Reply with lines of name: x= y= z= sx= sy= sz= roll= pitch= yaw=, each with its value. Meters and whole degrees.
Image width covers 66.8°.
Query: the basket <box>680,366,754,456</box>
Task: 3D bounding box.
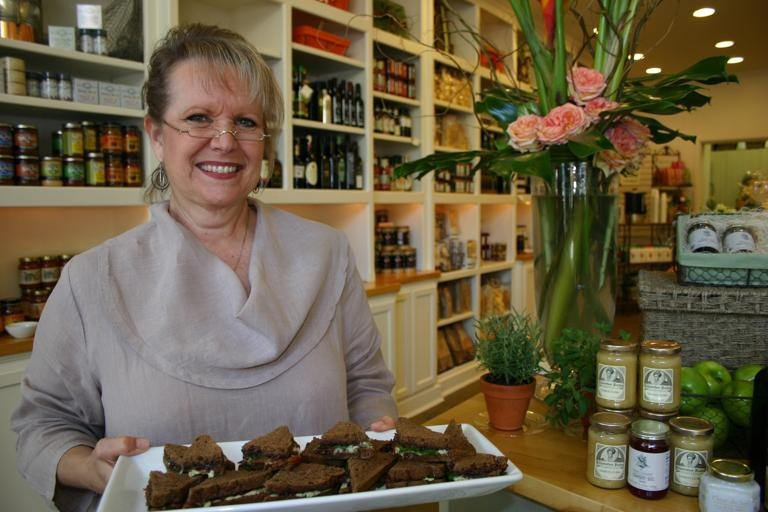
basket: x=0.953 y=0.433 z=1.658 sx=0.197 sy=0.108 sz=0.262 roll=-1 pitch=9 yaw=43

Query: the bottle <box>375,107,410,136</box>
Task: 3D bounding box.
bottle: x=0.052 y=-0.946 z=4.106 sx=0.095 sy=0.257 sz=0.274 roll=-2 pitch=0 yaw=33

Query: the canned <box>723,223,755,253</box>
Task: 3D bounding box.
canned: x=1.171 y=-0.051 z=1.922 sx=0.090 sy=0.091 sz=0.098 roll=-8 pitch=40 yaw=35

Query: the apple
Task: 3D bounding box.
apple: x=0.953 y=0.411 z=1.659 sx=0.209 sy=0.115 sz=0.277 roll=4 pitch=3 yaw=44

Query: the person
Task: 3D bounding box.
person: x=-0.469 y=0.005 z=1.638 sx=1.019 sy=1.326 sz=0.451 roll=-4 pitch=6 yaw=-33
